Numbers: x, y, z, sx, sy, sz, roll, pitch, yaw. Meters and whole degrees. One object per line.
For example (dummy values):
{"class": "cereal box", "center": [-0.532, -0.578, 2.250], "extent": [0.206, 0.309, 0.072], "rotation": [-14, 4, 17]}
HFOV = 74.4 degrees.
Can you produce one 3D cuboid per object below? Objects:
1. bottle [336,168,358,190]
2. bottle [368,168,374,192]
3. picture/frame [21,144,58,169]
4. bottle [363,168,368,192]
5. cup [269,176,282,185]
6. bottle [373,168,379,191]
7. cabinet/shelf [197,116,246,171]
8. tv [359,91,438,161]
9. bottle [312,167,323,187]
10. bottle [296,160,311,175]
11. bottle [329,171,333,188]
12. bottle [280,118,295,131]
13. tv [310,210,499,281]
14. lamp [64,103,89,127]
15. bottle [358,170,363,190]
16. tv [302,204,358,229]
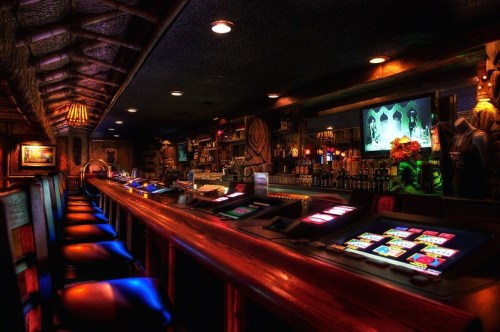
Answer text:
{"class": "bottle", "center": [1.235, 0.173, 4.320], "extent": [0.176, 0.233, 0.421], "rotation": [-5, 1, 3]}
{"class": "bottle", "center": [1.219, 0.128, 3.313], "extent": [0.060, 0.196, 0.252], "rotation": [-5, 1, 19]}
{"class": "picture/frame", "center": [-7.986, -0.367, 12.395], "extent": [0.080, 0.677, 1.037], "rotation": [6, 2, 34]}
{"class": "bottle", "center": [1.197, 0.115, 3.415], "extent": [0.042, 0.175, 0.153], "rotation": [-5, 1, 19]}
{"class": "cup", "center": [0.398, 0.218, 5.171], "extent": [0.147, 0.095, 0.139], "rotation": [2, -9, 0]}
{"class": "bottle", "center": [1.305, 0.126, 3.399], "extent": [0.053, 0.205, 0.224], "rotation": [-5, 1, 20]}
{"class": "cabinet/shelf", "center": [-0.780, -0.536, 8.826], "extent": [0.836, 1.328, 3.364], "rotation": [-5, 1, -21]}
{"class": "tv", "center": [1.986, -0.553, 4.332], "extent": [0.128, 0.780, 1.184], "rotation": [-3, 0, -38]}
{"class": "bottle", "center": [0.960, 0.157, 4.652], "extent": [0.161, 0.221, 0.215], "rotation": [-4, 1, 10]}
{"class": "bottle", "center": [0.946, 0.005, 5.707], "extent": [0.264, 0.235, 0.383], "rotation": [-4, 1, 2]}
{"class": "bottle", "center": [1.127, 0.175, 4.555], "extent": [0.060, 0.172, 0.135], "rotation": [-5, 1, 13]}
{"class": "bottle", "center": [0.714, -0.805, 6.345], "extent": [0.136, 0.217, 0.295], "rotation": [-5, 1, -35]}
{"class": "tv", "center": [0.697, 0.338, 1.464], "extent": [0.655, 0.194, 0.304], "rotation": [-4, 1, 36]}
{"class": "lamp", "center": [-3.627, -1.113, 6.900], "extent": [0.389, 0.509, 0.500], "rotation": [-5, 1, -28]}
{"class": "bottle", "center": [1.215, 0.142, 3.612], "extent": [0.066, 0.178, 0.214], "rotation": [-5, 1, 18]}
{"class": "tv", "center": [0.413, 0.257, 1.721], "extent": [0.221, 0.033, 0.114], "rotation": [-13, 13, -27]}
